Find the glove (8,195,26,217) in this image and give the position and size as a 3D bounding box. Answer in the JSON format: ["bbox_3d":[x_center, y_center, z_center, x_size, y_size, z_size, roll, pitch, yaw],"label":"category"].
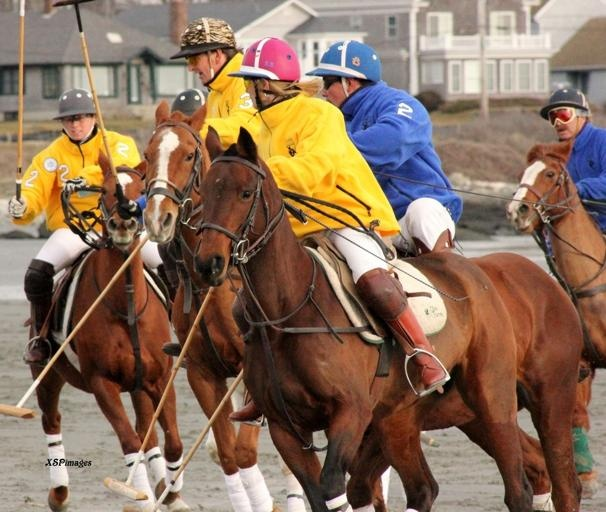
[{"bbox_3d":[-2.656,-0.458,15.496,0.148,0.179,0.179,-4,40,4],"label":"glove"}]

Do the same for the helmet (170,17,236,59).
[{"bbox_3d":[-0.939,-2.032,15.537,0.645,0.324,0.508,-6,12,-16],"label":"helmet"}]

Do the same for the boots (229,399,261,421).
[{"bbox_3d":[-0.455,1.265,13.706,0.339,0.244,0.122,3,-11,-8],"label":"boots"}]

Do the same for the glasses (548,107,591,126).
[{"bbox_3d":[2.587,-1.362,16.324,0.247,0.091,0.195,16,-26,-40],"label":"glasses"}]

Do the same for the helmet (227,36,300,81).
[{"bbox_3d":[-0.320,-1.612,13.660,0.610,0.320,0.431,-2,11,-26],"label":"helmet"}]
